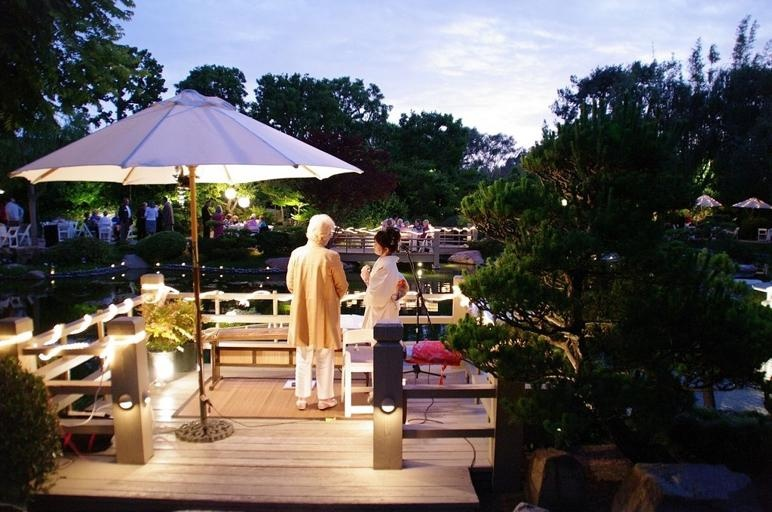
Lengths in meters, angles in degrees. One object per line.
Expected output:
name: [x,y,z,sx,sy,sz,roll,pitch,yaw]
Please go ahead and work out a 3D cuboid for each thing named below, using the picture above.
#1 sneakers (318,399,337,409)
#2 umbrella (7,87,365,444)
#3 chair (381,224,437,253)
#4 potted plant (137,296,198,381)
sneakers: [-0.728,1.787,7.846,0.208,0.153,0.099,-9,15,-31]
umbrella: [-2.233,-0.273,7.494,2.938,2.843,2.932,2,9,40]
chair: [1.107,-0.920,24.640,1.338,0.733,1.366,-3,10,-19]
potted plant: [-2.841,1.053,8.719,0.550,0.831,0.733,14,-11,-6]
